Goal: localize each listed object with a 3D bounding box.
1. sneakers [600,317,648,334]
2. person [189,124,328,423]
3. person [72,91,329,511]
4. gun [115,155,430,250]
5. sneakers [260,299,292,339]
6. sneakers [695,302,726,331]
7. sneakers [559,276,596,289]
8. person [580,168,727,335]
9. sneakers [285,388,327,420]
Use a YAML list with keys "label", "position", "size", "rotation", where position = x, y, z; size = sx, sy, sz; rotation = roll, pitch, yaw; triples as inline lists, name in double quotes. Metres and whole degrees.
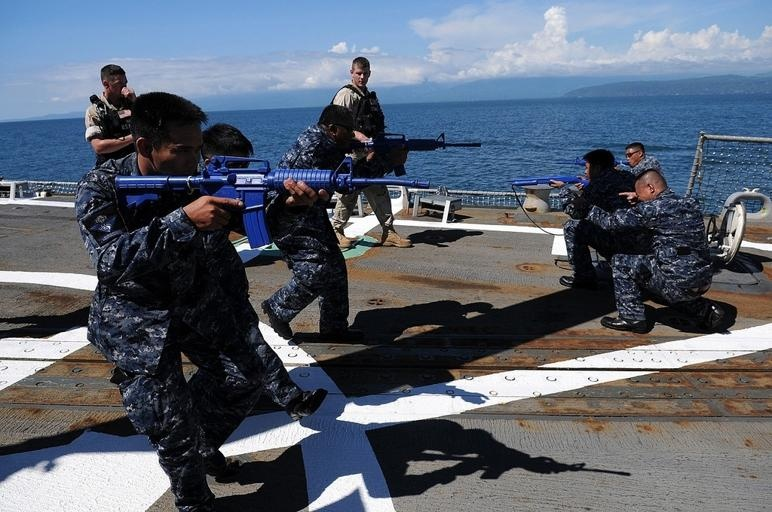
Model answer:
- label: "sneakers"
  position: [2.585, 0.751, 6.802]
  size: [0.527, 0.177, 0.183]
  rotation: [7, 14, 28]
- label: "person"
  position: [-1.071, 0.210, 5.339]
  size: [0.695, 2.949, 1.446]
  rotation: [6, 4, 28]
- label: "person"
  position: [-1.574, 0.378, 4.550]
  size: [1.112, 3.045, 1.160]
  rotation: [1, 18, 11]
- label: "gun"
  position: [-0.798, -0.393, 4.723]
  size: [2.413, 0.590, 0.211]
  rotation: [0, 3, 11]
- label: "sneakers"
  position: [-1.133, 0.665, 6.462]
  size: [0.172, 0.489, 0.181]
  rotation: [-36, 18, 17]
- label: "sneakers"
  position: [3.477, 0.651, 6.667]
  size: [0.171, 0.194, 0.459]
  rotation: [-40, -4, 21]
- label: "sneakers"
  position: [2.449, 0.327, 8.044]
  size: [0.460, 0.163, 0.154]
  rotation: [11, 28, 34]
- label: "person"
  position: [3.094, -0.079, 6.859]
  size: [1.327, 1.669, 1.097]
  rotation: [1, 17, 13]
- label: "sneakers"
  position: [-0.697, 1.276, 5.324]
  size: [0.306, 0.090, 0.273]
  rotation: [-26, -18, 13]
